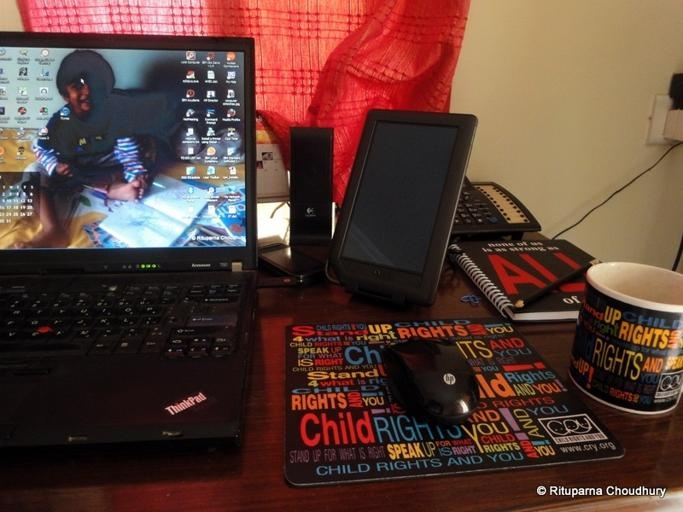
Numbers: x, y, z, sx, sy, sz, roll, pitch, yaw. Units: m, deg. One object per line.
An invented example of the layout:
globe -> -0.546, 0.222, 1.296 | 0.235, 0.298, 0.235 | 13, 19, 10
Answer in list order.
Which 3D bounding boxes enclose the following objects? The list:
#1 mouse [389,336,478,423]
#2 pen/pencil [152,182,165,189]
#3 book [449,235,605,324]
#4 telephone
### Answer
mouse -> 0.107, 0.126, 0.583 | 0.109, 0.041, 0.138 | -9, 31, -7
pen/pencil -> -0.264, -0.103, 0.729 | 0.019, 0.005, 0.003 | 20, 37, -26
book -> 0.307, 0.030, 0.802 | 0.269, 0.029, 0.238 | -14, 37, -32
telephone -> 0.231, -0.105, 1.029 | 0.250, 0.123, 0.214 | 4, 17, 1
